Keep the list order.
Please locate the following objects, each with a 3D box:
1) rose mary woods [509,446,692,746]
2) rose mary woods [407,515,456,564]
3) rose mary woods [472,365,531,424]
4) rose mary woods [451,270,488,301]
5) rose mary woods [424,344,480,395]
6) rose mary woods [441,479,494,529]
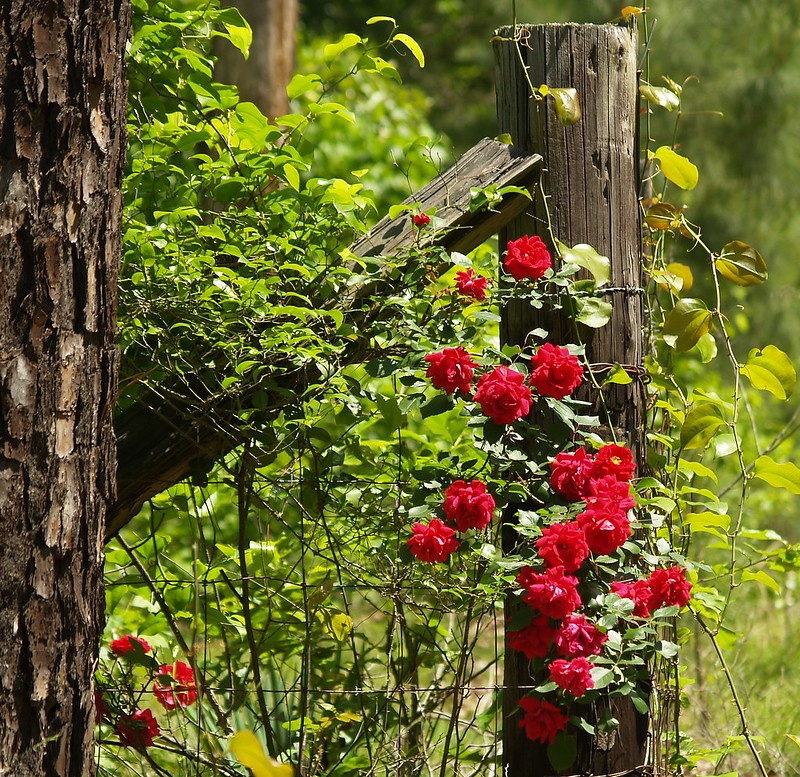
[{"bbox_3d":[0.555,0.613,7.988,0.501,0.848,0.440,27,-30,-37],"label":"rose mary woods"},{"bbox_3d":[0.104,0.450,7.945,0.139,0.125,0.081,-18,16,-1],"label":"rose mary woods"},{"bbox_3d":[0.325,0.029,7.919,0.177,0.158,0.117,23,-27,-31],"label":"rose mary woods"},{"bbox_3d":[0.221,-0.304,8.016,0.102,0.097,0.064,10,-23,-6],"label":"rose mary woods"},{"bbox_3d":[0.161,-0.045,7.912,0.147,0.133,0.079,-9,14,7],"label":"rose mary woods"},{"bbox_3d":[0.214,0.345,7.946,0.147,0.141,0.093,2,9,-1],"label":"rose mary woods"}]
